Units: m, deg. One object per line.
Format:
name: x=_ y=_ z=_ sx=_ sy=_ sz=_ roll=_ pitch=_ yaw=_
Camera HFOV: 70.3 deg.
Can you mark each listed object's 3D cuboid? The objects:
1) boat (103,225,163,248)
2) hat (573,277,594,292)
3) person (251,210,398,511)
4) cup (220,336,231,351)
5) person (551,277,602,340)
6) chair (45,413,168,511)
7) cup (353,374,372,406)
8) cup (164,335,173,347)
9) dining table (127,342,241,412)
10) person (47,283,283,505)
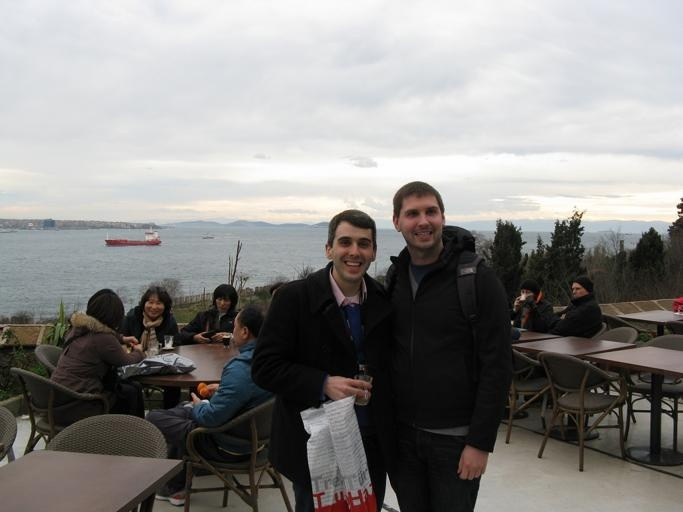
boat: x=-49.865 y=-4.438 z=116.756 sx=10.370 sy=3.096 sz=20.824 roll=-1 pitch=0 yaw=-20
hat: x=3.456 y=0.374 z=6.809 sx=0.243 sy=0.200 sz=0.222 roll=12 pitch=-6 yaw=11
person: x=-0.099 y=0.594 z=2.525 sx=0.714 sy=1.681 sz=0.434 roll=-1 pitch=1 yaw=3
cup: x=-1.376 y=1.034 z=5.759 sx=0.130 sy=0.145 sz=0.133 roll=-1 pitch=-5 yaw=0
person: x=3.401 y=0.813 z=7.134 sx=0.722 sy=0.991 sz=1.072 roll=3 pitch=-6 yaw=5
chair: x=-1.282 y=1.198 z=2.988 sx=0.615 sy=0.667 sz=0.514 roll=7 pitch=-16 yaw=7
cup: x=0.106 y=0.647 z=2.348 sx=0.091 sy=0.156 sz=0.155 roll=1 pitch=3 yaw=-8
cup: x=-1.965 y=0.939 z=5.391 sx=0.097 sy=0.145 sz=0.151 roll=-1 pitch=-5 yaw=5
dining table: x=-1.477 y=1.097 z=4.746 sx=0.762 sy=0.339 sz=0.767 roll=3 pitch=2 yaw=8
person: x=-1.059 y=1.068 z=4.187 sx=1.283 sy=2.134 sz=1.042 roll=3 pitch=-4 yaw=23
